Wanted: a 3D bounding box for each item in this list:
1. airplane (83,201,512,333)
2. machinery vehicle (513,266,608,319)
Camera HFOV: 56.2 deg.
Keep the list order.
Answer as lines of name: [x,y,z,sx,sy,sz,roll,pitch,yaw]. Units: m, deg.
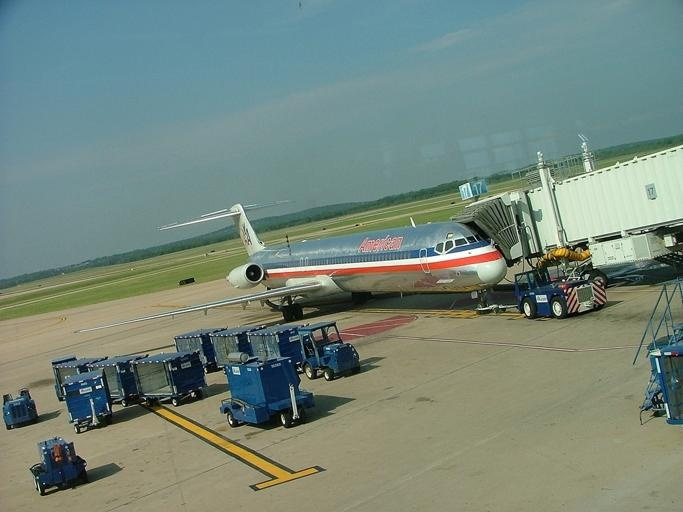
airplane: [-2.755,1.005,37.517,12.843,6.114,22.356,-11,2,-26]
machinery vehicle: [9.530,1.670,28.091,2.376,1.274,3.010,-14,1,-19]
